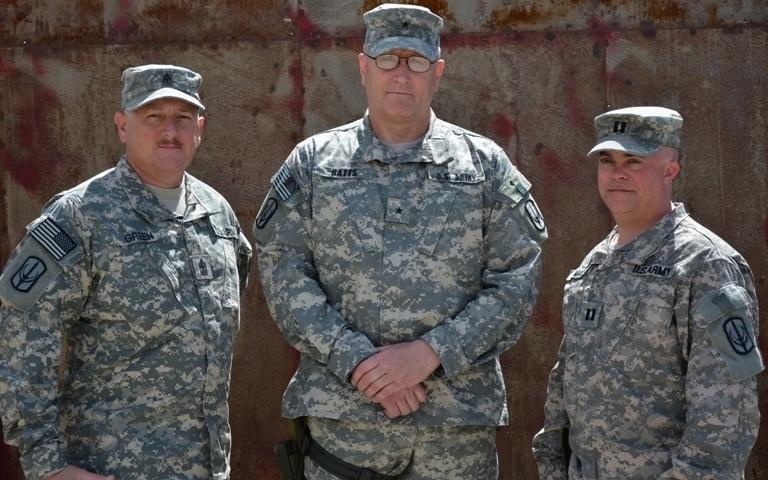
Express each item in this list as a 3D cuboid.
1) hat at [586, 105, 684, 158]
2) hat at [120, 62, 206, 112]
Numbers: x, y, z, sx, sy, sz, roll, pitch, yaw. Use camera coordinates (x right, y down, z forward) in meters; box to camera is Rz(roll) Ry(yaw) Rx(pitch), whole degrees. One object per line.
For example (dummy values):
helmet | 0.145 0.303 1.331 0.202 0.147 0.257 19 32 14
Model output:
hat | 1.550 -0.695 8.304 0.461 0.202 0.356 2 -3 -43
hat | -1.368 -0.958 8.443 0.528 0.281 0.632 -2 -1 -3
